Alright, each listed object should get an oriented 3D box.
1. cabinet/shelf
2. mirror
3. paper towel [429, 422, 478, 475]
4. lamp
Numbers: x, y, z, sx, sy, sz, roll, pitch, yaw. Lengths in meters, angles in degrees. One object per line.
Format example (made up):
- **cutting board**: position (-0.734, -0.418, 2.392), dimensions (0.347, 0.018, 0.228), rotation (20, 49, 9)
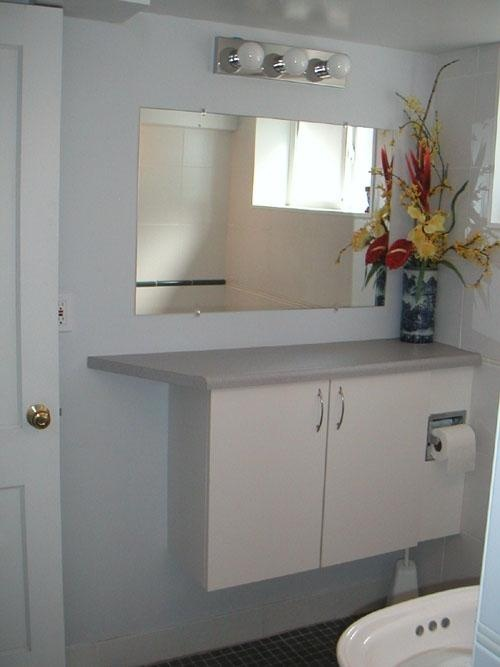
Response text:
- **cabinet/shelf**: position (0.199, 0.395, 1.638), dimensions (0.691, 0.473, 0.232), rotation (-4, 10, -24)
- **mirror**: position (0.016, -0.386, 1.704), dimensions (0.627, 0.489, 0.008), rotation (-2, 11, -20)
- **paper towel**: position (0.637, 0.364, 1.789), dimensions (0.143, 0.205, 0.107), rotation (-2, 11, -15)
- **lamp**: position (0.130, -0.787, 1.614), dimensions (0.461, 0.108, 0.157), rotation (-4, 11, -24)
